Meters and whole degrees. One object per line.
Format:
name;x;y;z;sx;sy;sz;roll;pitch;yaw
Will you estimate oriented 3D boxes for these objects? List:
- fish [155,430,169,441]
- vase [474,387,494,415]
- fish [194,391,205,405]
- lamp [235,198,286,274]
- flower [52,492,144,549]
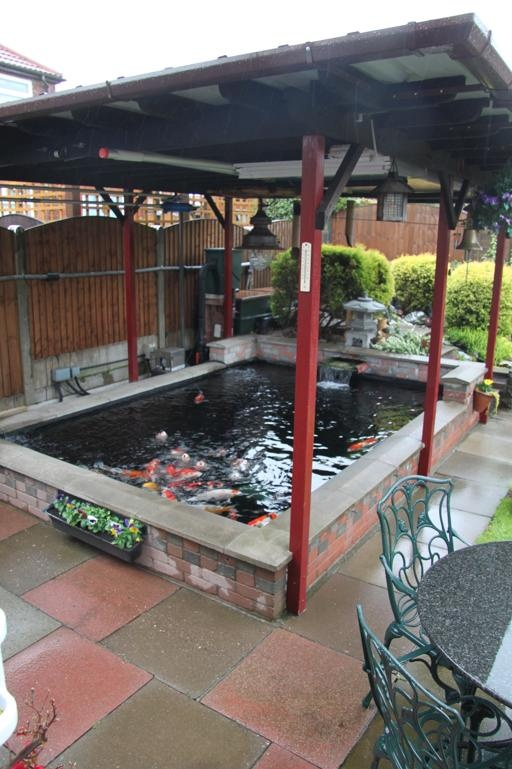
fish;-0.927;0.501;5.580;0.077;0.045;0.102;0;16;8
vase;2.698;0.210;6.712;0.193;0.360;0.271;7;13;31
fish;-0.673;0.165;6.821;0.095;0.153;0.152;-1;-5;9
lamp;0.049;-1.490;5.370;0.387;0.699;0.378;-8;24;-20
flower;-1.040;0.907;3.844;0.738;0.264;0.252;13;31;30
